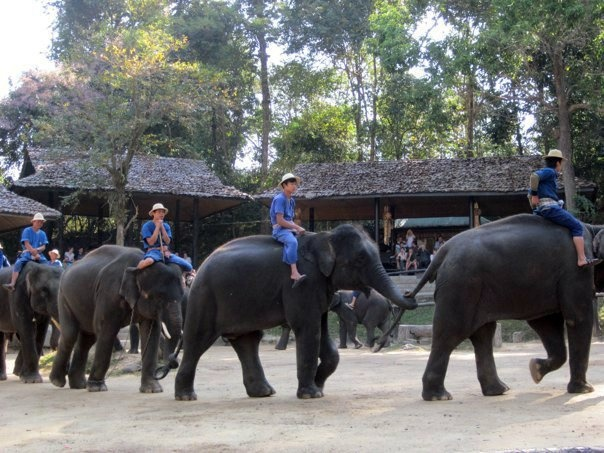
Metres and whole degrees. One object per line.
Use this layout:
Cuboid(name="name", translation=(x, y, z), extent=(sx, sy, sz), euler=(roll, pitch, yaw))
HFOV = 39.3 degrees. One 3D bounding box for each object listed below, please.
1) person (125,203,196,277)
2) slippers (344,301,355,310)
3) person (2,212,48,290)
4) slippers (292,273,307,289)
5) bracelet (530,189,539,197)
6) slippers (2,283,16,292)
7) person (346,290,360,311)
Cuboid(name="person", translation=(-2.221, 0.230, 14.440), extent=(1.255, 1.652, 0.937), euler=(-2, 0, -41))
Cuboid(name="slippers", translation=(1.188, 1.951, 21.055), extent=(0.106, 0.142, 0.318), euler=(4, -1, -35))
Cuboid(name="person", translation=(-6.279, 0.455, 19.218), extent=(1.320, 1.800, 0.757), euler=(13, -26, -39))
Cuboid(name="slippers", translation=(-0.055, 0.810, 12.745), extent=(0.217, 0.206, 0.170), euler=(-2, -5, -2))
Cuboid(name="bracelet", translation=(3.539, -0.524, 12.910), extent=(0.079, 0.062, 0.081), euler=(3, -6, -18))
Cuboid(name="slippers", translation=(-5.309, 1.091, 15.288), extent=(0.349, 0.196, 0.119), euler=(-4, 6, 35))
Cuboid(name="person", translation=(1.238, 1.795, 20.558), extent=(0.299, 0.208, 0.882), euler=(10, -27, -19))
